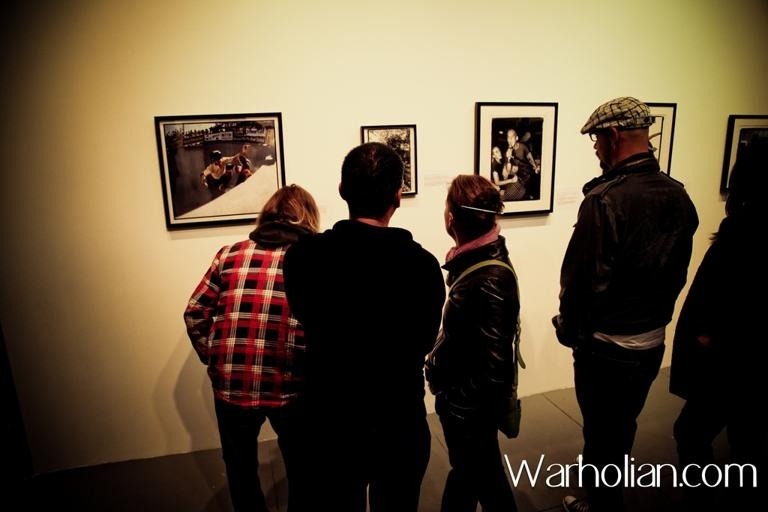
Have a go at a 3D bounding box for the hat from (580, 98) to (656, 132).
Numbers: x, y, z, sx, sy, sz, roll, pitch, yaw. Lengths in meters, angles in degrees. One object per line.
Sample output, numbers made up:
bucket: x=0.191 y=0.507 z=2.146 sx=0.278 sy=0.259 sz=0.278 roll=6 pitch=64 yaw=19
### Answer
hat: x=1.561 y=-0.947 z=3.825 sx=0.458 sy=0.233 sz=0.330 roll=5 pitch=14 yaw=36

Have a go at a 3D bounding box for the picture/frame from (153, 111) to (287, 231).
picture/frame: x=-1.235 y=-0.649 z=4.136 sx=0.841 sy=0.800 sz=0.055 roll=-4 pitch=9 yaw=-17
